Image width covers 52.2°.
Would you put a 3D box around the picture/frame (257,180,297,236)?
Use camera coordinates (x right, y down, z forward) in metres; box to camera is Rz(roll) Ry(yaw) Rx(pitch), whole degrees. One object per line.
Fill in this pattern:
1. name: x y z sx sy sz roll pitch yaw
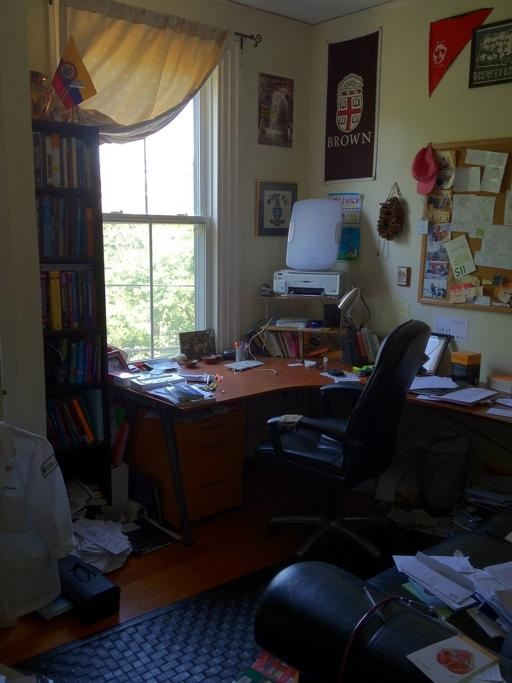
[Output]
1. picture/frame: 0.124 -0.876 3.410 0.367 0.433 0.042 -10 21 -32

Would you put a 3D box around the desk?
1. desk: 0.221 0.446 2.661 1.337 0.568 1.323 -6 10 -38

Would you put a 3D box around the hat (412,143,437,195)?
1. hat: 0.928 -0.956 2.905 0.069 0.271 0.181 -4 9 -30

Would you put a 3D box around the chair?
1. chair: 0.356 0.397 2.341 0.687 1.082 0.697 -10 16 -43

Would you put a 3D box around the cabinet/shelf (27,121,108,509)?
1. cabinet/shelf: -0.874 -0.071 2.476 0.300 1.801 0.306 -4 8 -27
